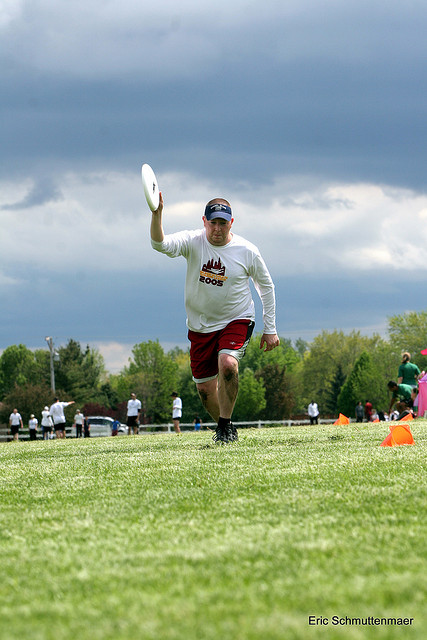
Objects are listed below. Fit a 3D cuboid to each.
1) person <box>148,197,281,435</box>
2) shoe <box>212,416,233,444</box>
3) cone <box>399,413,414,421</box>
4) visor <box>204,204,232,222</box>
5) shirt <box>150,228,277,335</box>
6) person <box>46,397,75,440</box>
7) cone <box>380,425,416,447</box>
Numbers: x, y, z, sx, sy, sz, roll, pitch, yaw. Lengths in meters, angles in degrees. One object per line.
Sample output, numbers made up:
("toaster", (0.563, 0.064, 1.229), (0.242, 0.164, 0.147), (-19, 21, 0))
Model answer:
("person", (0.022, -0.014, 6.760), (0.642, 1.306, 1.086), (-4, -4, 6))
("shoe", (0.036, 0.585, 6.288), (0.070, 0.091, 0.142), (-1, 0, 7))
("cone", (1.844, 0.929, 11.366), (0.109, 0.094, 0.177), (-24, -11, 4))
("visor", (0.017, -0.607, 6.657), (0.142, 0.115, 0.249), (-4, -4, 0))
("shirt", (-0.041, -0.283, 6.764), (0.729, 0.789, 0.396), (-1, 28, -6))
("person", (-3.178, 1.995, 23.945), (0.638, 0.883, 0.281), (-7, -14, -5))
("cone", (0.754, 0.498, 4.879), (0.114, 0.093, 0.119), (-14, 37, 12))
